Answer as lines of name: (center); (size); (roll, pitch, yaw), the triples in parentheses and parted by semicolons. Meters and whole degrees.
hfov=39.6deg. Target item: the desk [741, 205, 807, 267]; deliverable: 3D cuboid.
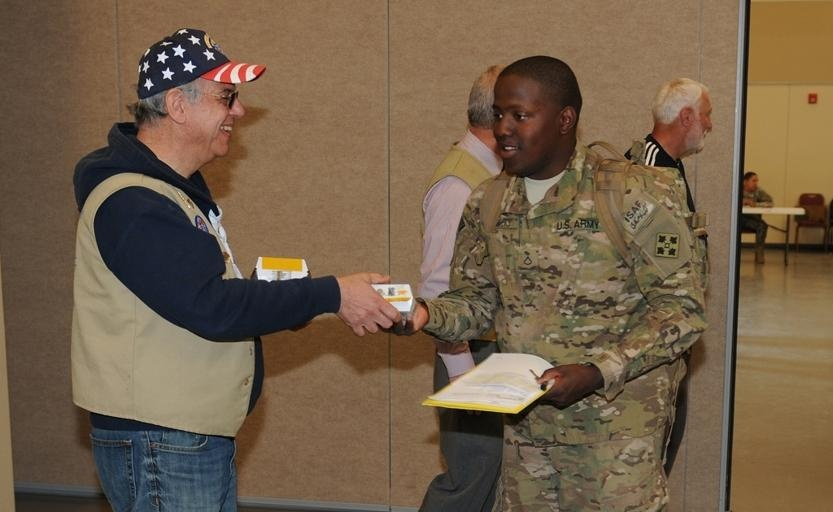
desk: (5.280, -0.304, 17.157); (0.991, 0.805, 0.929); (-1, 6, 9)

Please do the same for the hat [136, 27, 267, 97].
hat: (-1.307, -1.174, 7.052); (0.694, 0.292, 0.407); (-14, 9, 3)
